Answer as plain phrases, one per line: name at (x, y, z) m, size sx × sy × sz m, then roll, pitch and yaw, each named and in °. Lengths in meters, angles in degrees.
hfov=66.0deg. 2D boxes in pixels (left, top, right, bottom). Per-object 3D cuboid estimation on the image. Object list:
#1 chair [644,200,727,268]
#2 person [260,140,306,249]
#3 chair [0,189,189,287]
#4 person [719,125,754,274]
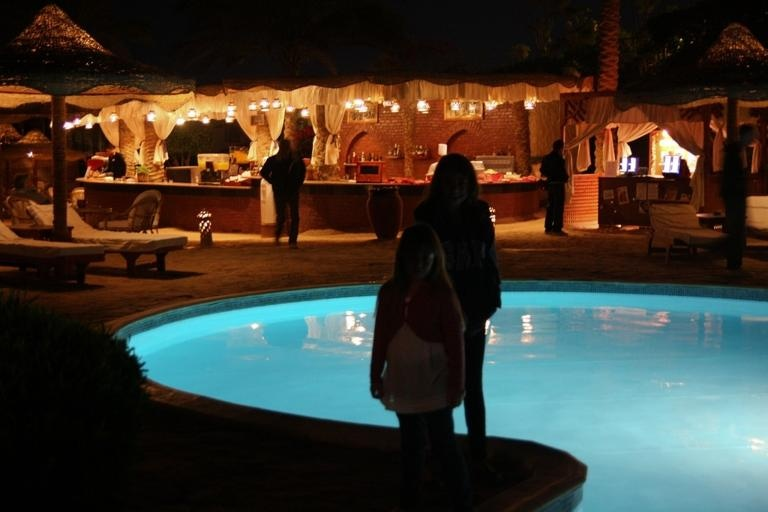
chair at (5.787, -0.529, 11.393) m, size 1.019 × 0.840 × 1.397 m, roll -1°, pitch 1°, yaw -6°
person at (-2.152, -1.354, 12.940) m, size 0.926 × 2.306 × 0.508 m, roll -1°, pitch 11°, yaw 4°
chair at (-5.234, -0.351, 10.931) m, size 3.238 × 1.179 × 1.081 m, roll 6°, pitch 13°, yaw 33°
person at (6.281, -0.966, 10.612) m, size 0.437 × 2.183 × 1.421 m, roll 4°, pitch 13°, yaw 30°
